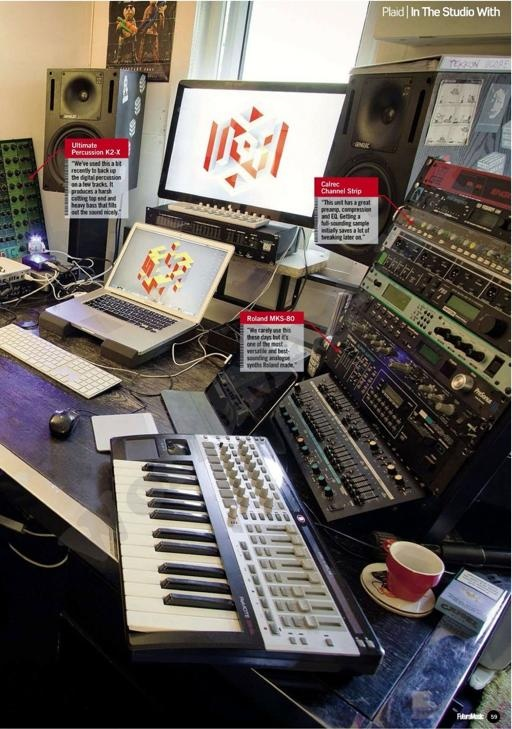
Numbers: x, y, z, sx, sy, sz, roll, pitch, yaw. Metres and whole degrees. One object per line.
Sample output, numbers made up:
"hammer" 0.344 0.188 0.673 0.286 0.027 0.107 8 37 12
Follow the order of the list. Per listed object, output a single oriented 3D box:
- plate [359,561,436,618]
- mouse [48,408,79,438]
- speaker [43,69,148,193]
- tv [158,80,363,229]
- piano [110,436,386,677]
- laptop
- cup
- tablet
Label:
"plate" 0.221 0.356 0.764 0.075 0.017 0.075 20 26 3
"mouse" -0.418 0.122 1.066 0.038 0.026 0.070 15 55 7
"speaker" -0.623 -0.929 1.944 0.389 0.500 0.296 2 27 -26
"tv" -0.037 -0.743 1.678 0.712 0.426 0.030 21 17 30
"piano" -0.065 0.270 0.819 0.328 0.095 0.571 8 14 -17
"laptop" -0.346 -0.234 1.619 0.513 0.289 0.511 29 40 26
"cup" 0.231 0.312 0.774 0.099 0.064 0.081 14 24 25
"tablet" -0.028 0.058 1.228 0.169 0.177 0.251 15 44 -14
